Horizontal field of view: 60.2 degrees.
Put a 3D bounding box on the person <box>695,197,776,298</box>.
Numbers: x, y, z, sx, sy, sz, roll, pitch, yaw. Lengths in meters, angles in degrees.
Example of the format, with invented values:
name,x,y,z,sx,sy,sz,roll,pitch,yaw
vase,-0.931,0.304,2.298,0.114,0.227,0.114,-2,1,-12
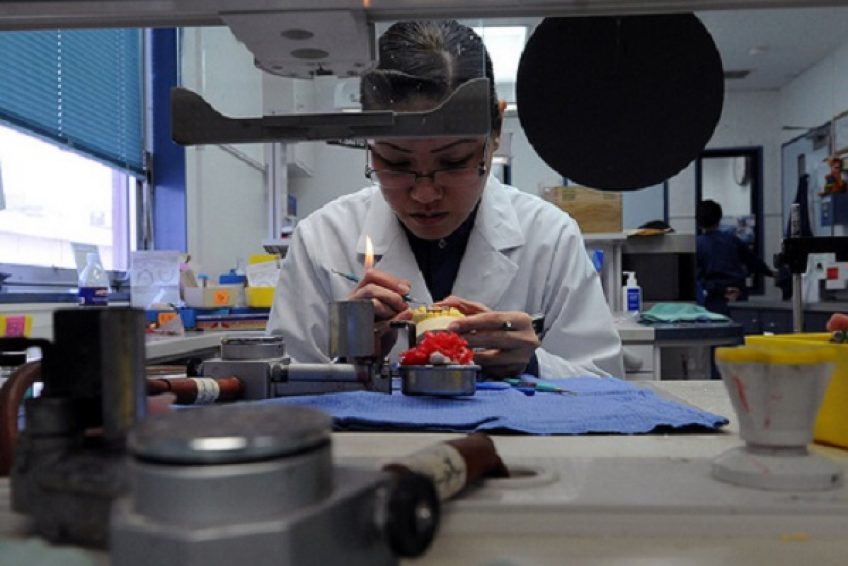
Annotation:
name,x,y,z,sx,sy,sz,roll,pitch,yaw
person,2.349,-0.246,5.672,0.518,0.768,0.347,0,1,7

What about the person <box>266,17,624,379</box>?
name,x,y,z,sx,sy,sz,roll,pitch,yaw
person,0.015,-0.122,2.010,1.056,0.913,0.783,0,-2,6

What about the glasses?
name,x,y,z,sx,sy,sz,roll,pitch,yaw
glasses,0.002,-0.317,1.992,0.347,0.119,0.236,0,1,1
